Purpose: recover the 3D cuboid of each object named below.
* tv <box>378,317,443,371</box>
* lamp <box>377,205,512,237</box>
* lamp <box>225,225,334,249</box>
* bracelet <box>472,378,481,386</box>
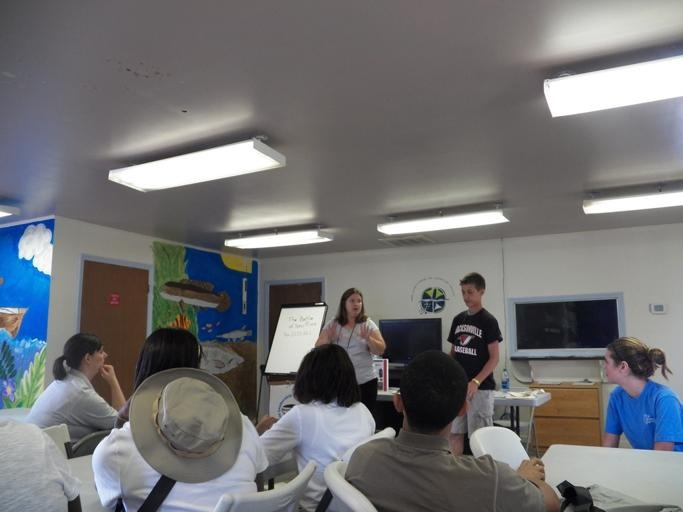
[{"bbox_3d":[0.842,1.062,6.143,0.995,0.757,0.280,-5,-27,19],"label":"tv"},{"bbox_3d":[1.176,-0.418,5.926,1.437,0.155,0.450,-4,-11,21],"label":"lamp"},{"bbox_3d":[-0.848,-0.267,6.934,1.428,0.170,0.492,-4,-11,19],"label":"lamp"},{"bbox_3d":[1.090,1.019,4.058,0.015,0.055,0.058,-41,-33,6],"label":"bracelet"}]
